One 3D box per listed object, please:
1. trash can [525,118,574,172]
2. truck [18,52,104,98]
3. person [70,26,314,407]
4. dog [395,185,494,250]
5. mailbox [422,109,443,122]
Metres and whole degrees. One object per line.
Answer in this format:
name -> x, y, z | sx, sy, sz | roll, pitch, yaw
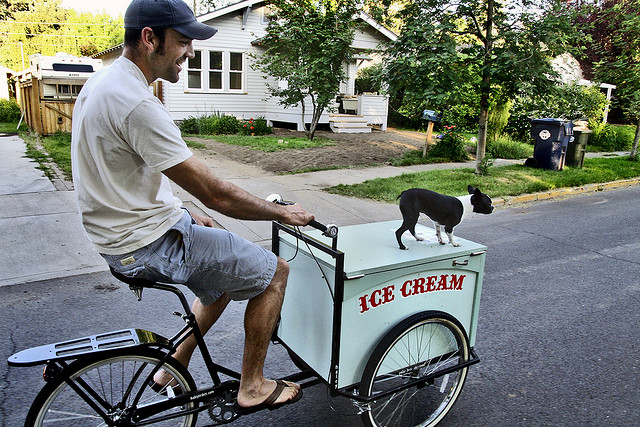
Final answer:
trash can -> 6.279, -1.893, 13.408 | 1.055, 1.381, 0.641 | 8, 14, 24
truck -> -8.766, -4.606, 16.711 | 1.415, 1.001, 2.403 | 15, 22, 39
person -> -0.951, 0.076, 3.353 | 1.461, 2.596, 0.399 | 2, 13, -3
dog -> 0.996, 0.020, 3.989 | 0.929, 0.445, 0.430 | -6, 14, -35
mailbox -> 3.396, -2.986, 14.851 | 0.526, 0.320, 0.869 | 4, 11, 9
